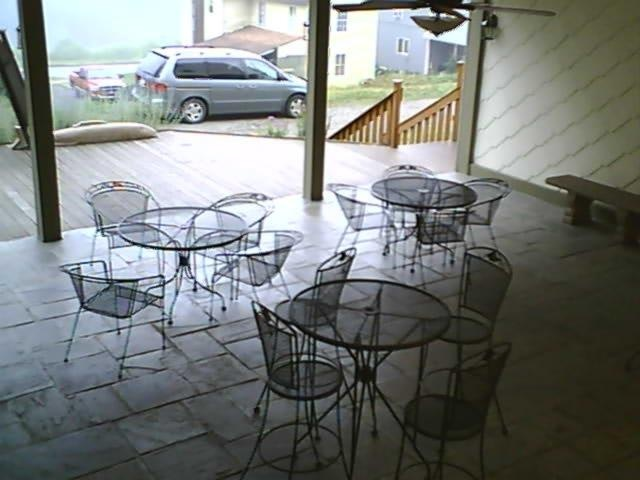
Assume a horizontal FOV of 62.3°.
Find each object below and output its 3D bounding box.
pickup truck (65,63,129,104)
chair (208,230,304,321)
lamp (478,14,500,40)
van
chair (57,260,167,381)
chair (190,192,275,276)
[{"bbox_3d":[-4.848,-3.476,11.589,0.926,0.604,1.525,-18,39,-34],"label":"pickup truck"},{"bbox_3d":[-0.689,0.207,5.434,0.956,0.718,0.837,18,33,20],"label":"chair"},{"bbox_3d":[2.733,-3.446,8.573,0.290,0.445,0.356,-4,16,-15],"label":"lamp"},{"bbox_3d":[-2.356,-3.499,12.052,3.956,1.267,1.608,-6,27,-19],"label":"van"},{"bbox_3d":[-1.795,0.655,4.759,0.818,0.816,0.849,15,16,40],"label":"chair"},{"bbox_3d":[-0.965,-0.045,5.872,0.748,0.923,0.774,-11,42,-45],"label":"chair"}]
